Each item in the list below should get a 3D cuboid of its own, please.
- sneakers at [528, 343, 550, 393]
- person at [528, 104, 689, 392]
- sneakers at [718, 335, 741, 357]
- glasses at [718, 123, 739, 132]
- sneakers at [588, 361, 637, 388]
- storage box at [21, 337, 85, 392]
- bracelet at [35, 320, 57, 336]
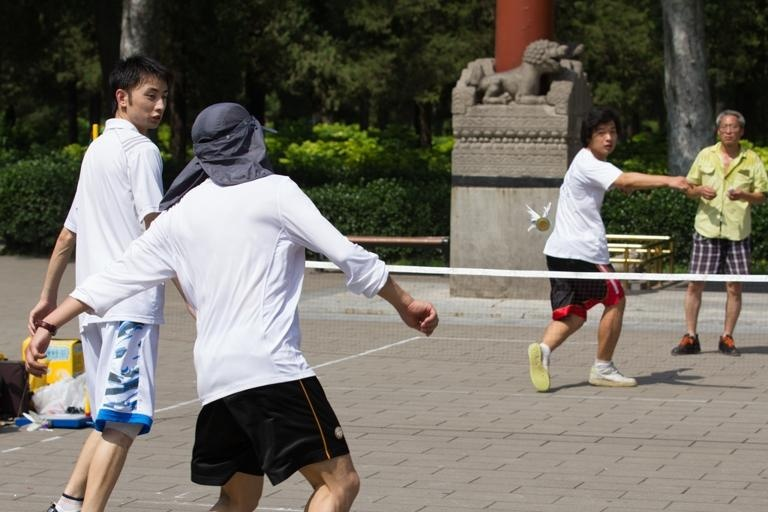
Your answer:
[{"bbox_3d":[1.725,1.226,14.262,0.257,0.502,0.229,-10,4,19],"label":"sneakers"},{"bbox_3d":[2.295,-0.067,14.274,1.445,3.085,0.913,-1,6,11],"label":"person"},{"bbox_3d":[4.180,1.075,15.771,0.275,0.236,0.215,1,6,24],"label":"sneakers"},{"bbox_3d":[4.158,-1.534,15.642,0.246,0.084,0.117,-1,6,10],"label":"glasses"},{"bbox_3d":[2.612,1.332,14.455,0.623,0.269,0.210,2,2,-3],"label":"sneakers"},{"bbox_3d":[-3.415,1.150,13.677,0.607,0.516,0.339,1,1,20],"label":"storage box"},{"bbox_3d":[-2.787,0.598,10.742,0.132,0.078,0.138,40,-22,-21],"label":"bracelet"}]
